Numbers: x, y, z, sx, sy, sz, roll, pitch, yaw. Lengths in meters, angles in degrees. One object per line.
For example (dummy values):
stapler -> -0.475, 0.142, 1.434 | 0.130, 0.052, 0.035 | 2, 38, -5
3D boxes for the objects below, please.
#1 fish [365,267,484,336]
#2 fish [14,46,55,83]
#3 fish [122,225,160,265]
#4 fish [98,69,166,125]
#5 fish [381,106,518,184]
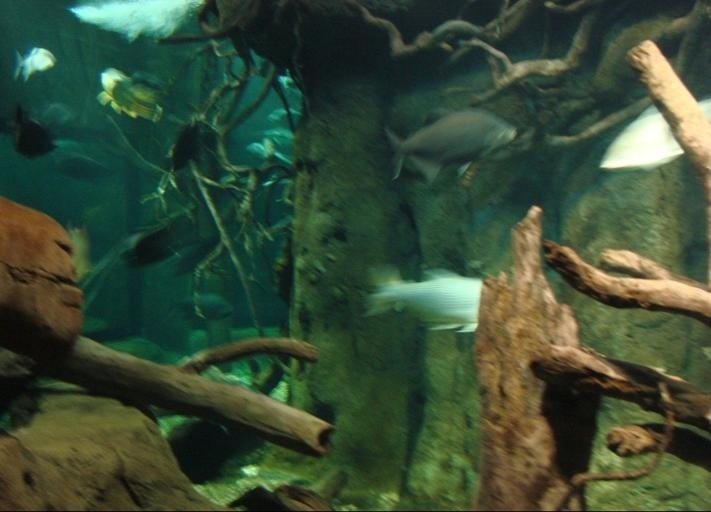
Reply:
fish -> 0.468, 0.255, 5.010 | 0.851, 0.306, 0.144 | 7, -2, -14
fish -> -2.067, -1.240, 5.485 | 0.238, 0.213, 0.114 | 1, 5, 3
fish -> -1.477, -0.057, 5.804 | 0.236, 0.269, 0.156 | -1, 5, -19
fish -> -1.486, -1.061, 5.630 | 0.409, 0.317, 0.237 | -1, 5, -21
fish -> 0.534, -0.633, 4.852 | 0.731, 0.392, 0.222 | 4, 6, 37
